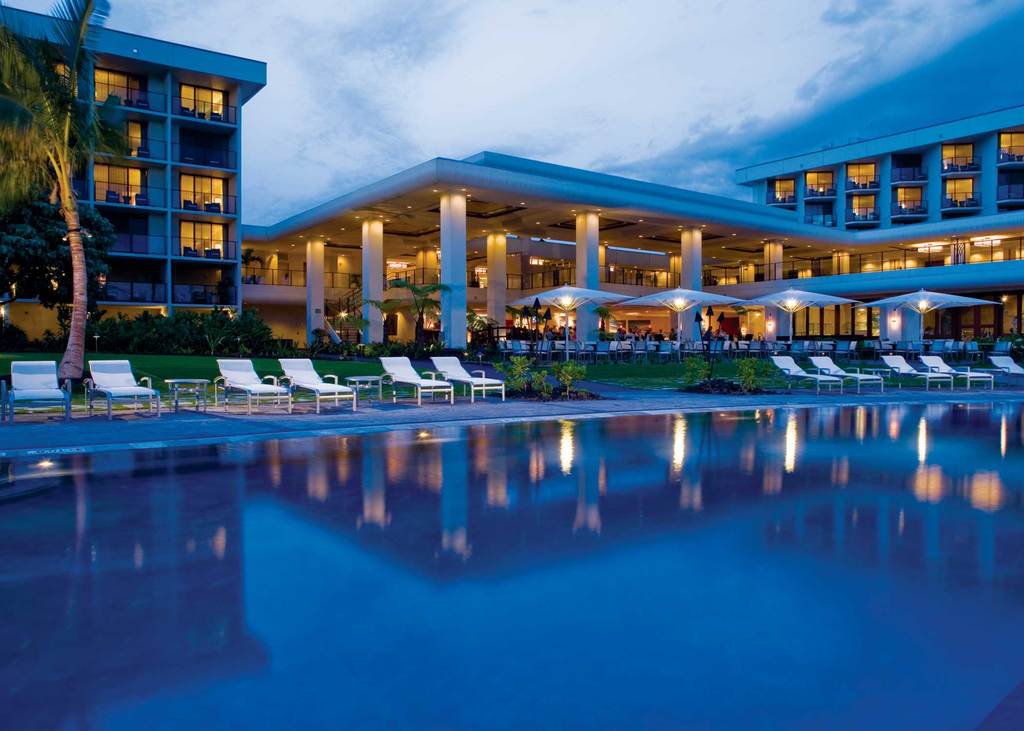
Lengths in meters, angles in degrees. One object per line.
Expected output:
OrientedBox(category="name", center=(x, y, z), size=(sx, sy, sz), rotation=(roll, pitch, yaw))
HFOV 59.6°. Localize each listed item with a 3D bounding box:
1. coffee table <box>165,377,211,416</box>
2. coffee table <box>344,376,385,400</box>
OrientedBox(category="coffee table", center=(-7.002, 0.596, 19.298), size=(1.136, 0.854, 1.142), rotation=(0, -3, -14))
OrientedBox(category="coffee table", center=(-3.509, 0.441, 21.383), size=(0.914, 0.670, 0.725), rotation=(0, -1, -32))
